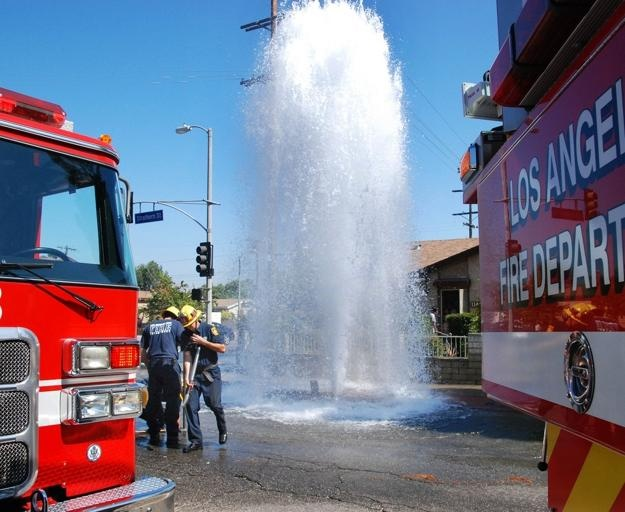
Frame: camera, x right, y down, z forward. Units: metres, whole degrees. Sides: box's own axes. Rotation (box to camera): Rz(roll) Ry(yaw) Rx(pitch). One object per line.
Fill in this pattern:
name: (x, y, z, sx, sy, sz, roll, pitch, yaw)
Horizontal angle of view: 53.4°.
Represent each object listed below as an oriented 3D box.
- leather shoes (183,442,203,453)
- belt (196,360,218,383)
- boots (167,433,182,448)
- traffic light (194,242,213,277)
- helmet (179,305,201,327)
leather shoes: (-1.586, 2.486, 8.125, 0.258, 0.111, 0.258, 2, -5, -15)
belt: (-1.441, 1.583, 8.448, 0.219, 0.203, 0.235, 3, -8, -20)
boots: (-1.876, 2.476, 8.349, 0.207, 0.239, 0.139, 1, 1, -17)
traffic light: (-3.465, 0.076, 19.778, 0.476, 1.112, 0.879, 2, -4, -13)
helmet: (-1.727, 0.838, 8.591, 0.168, 0.233, 0.281, 43, -29, -16)
